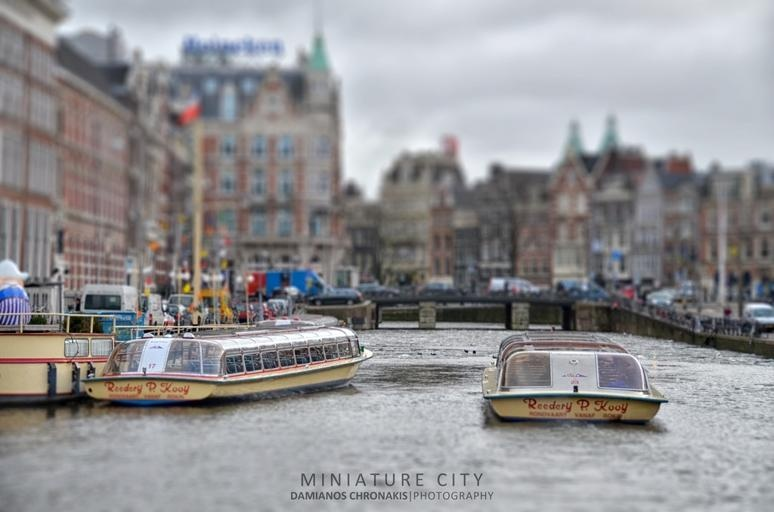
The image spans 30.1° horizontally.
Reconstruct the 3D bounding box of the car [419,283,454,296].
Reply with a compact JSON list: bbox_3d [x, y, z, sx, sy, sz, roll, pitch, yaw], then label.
[{"bbox_3d":[4.866,3.128,131.451,2.768,0.907,1.283,-4,2,9],"label":"car"}]

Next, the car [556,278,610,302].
[{"bbox_3d":[17.140,2.988,125.996,2.736,1.417,4.407,5,-1,-10],"label":"car"}]
